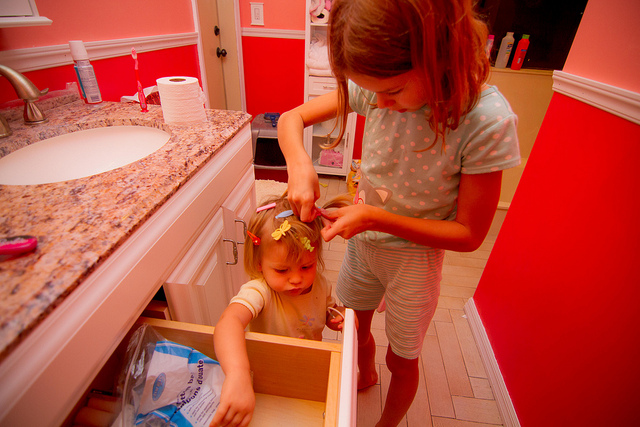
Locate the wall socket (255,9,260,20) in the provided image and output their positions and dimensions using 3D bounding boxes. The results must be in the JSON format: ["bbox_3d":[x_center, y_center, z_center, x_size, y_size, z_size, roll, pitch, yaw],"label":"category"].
[{"bbox_3d":[-0.570,-1.799,3.464,0.041,0.077,0.009,2,32,-4],"label":"wall socket"}]

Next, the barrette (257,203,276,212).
[{"bbox_3d":[-0.196,-0.023,1.400,0.066,0.031,0.030,-1,32,-9],"label":"barrette"}]

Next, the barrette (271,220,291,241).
[{"bbox_3d":[-0.133,0.062,1.332,0.066,0.056,0.036,-23,41,-36],"label":"barrette"}]

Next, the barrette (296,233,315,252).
[{"bbox_3d":[-0.053,0.103,1.339,0.031,0.066,0.018,-35,14,-21],"label":"barrette"}]

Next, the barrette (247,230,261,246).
[{"bbox_3d":[-0.240,0.089,1.380,0.018,0.033,0.074,-23,41,-37],"label":"barrette"}]

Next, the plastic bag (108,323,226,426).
[{"bbox_3d":[-0.467,0.525,1.200,0.297,0.222,0.220,6,32,3],"label":"plastic bag"}]

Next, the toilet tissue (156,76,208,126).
[{"bbox_3d":[-0.582,-0.490,1.628,0.151,0.154,0.145,-12,21,-25],"label":"toilet tissue"}]
